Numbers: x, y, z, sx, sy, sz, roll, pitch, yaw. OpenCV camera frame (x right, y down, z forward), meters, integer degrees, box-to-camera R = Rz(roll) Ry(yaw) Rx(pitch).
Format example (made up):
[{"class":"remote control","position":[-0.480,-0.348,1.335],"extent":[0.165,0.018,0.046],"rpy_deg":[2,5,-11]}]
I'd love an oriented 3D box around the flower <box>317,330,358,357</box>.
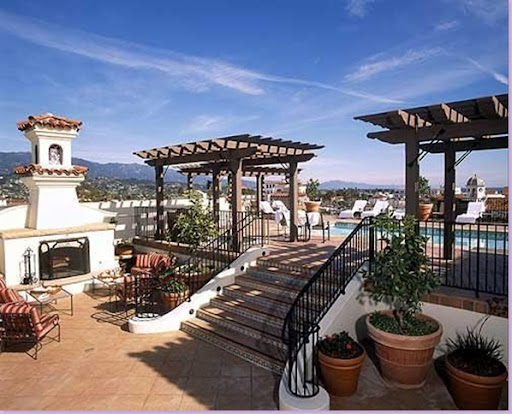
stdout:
[{"class":"flower","position":[1.616,2.566,6.501],"extent":[0.747,0.311,0.655],"rpy_deg":[2,11,-1]}]

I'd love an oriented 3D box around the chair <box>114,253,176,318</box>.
[{"class":"chair","position":[-3.347,2.284,10.215],"extent":[1.421,1.266,2.082],"rpy_deg":[1,5,6]}]

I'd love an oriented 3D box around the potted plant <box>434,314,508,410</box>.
[{"class":"potted plant","position":[3.923,2.944,6.256],"extent":[1.114,1.099,0.998],"rpy_deg":[5,15,29]}]

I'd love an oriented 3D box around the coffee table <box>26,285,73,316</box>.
[{"class":"coffee table","position":[-5.565,2.749,9.415],"extent":[0.888,0.431,0.626],"rpy_deg":[3,-7,9]}]

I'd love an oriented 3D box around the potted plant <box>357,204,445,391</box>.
[{"class":"potted plant","position":[2.832,1.735,6.790],"extent":[1.329,3.059,1.383],"rpy_deg":[-1,13,4]}]

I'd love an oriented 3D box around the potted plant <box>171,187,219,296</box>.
[{"class":"potted plant","position":[-1.852,0.835,10.419],"extent":[1.246,2.363,3.652],"rpy_deg":[-5,13,-12]}]

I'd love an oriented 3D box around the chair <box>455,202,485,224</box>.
[{"class":"chair","position":[8.887,0.251,14.310],"extent":[1.331,0.787,0.805],"rpy_deg":[-6,5,-39]}]

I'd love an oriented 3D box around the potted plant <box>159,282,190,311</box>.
[{"class":"potted plant","position":[-2.178,2.333,9.278],"extent":[0.775,0.491,0.766],"rpy_deg":[-1,-1,2]}]

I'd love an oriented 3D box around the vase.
[{"class":"vase","position":[1.564,3.101,6.525],"extent":[0.896,0.665,0.902],"rpy_deg":[-5,-9,36]}]
